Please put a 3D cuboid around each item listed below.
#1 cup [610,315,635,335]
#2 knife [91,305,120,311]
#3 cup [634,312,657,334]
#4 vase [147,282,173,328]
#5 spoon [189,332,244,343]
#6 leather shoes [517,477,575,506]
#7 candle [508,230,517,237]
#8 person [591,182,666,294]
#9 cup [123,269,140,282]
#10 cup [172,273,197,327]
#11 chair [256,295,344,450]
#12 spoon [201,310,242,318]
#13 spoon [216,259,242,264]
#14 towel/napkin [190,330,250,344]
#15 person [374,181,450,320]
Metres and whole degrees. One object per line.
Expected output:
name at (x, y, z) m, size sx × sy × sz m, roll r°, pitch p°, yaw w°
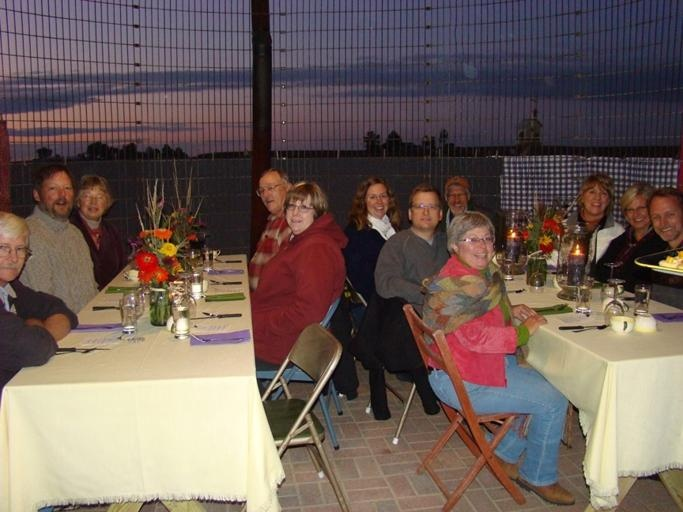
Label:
cup at (1.859, 0.456, 3.581) m, size 0.109 × 0.084 × 0.131 m, roll -1°, pitch -4°, yaw 9°
knife at (-1.839, 0.409, 4.223) m, size 0.220 × 0.027 × 0.054 m, roll 3°, pitch 37°, yaw -19°
cup at (2.042, 0.457, 3.639) m, size 0.118 × 0.082 × 0.124 m, roll 0°, pitch 9°, yaw 0°
vase at (-1.277, 0.342, 3.818) m, size 0.188 × 0.279 × 0.196 m, roll 3°, pitch 5°, yaw -9°
spoon at (-0.806, 0.526, 3.479) m, size 0.241 × 0.036 × 0.041 m, roll 3°, pitch -19°, yaw -36°
leather shoes at (1.370, 1.608, 3.649) m, size 0.348 × 0.171 × 0.135 m, roll 7°, pitch 6°, yaw 18°
candle at (1.705, -0.220, 5.423) m, size 0.067 × 0.069 × 0.068 m, roll -4°, pitch 10°, yaw -30°
person at (2.801, -0.128, 5.195) m, size 0.591 × 0.999 × 0.646 m, roll -17°, pitch 23°, yaw -31°
cup at (-2.014, 0.190, 5.206) m, size 0.140 × 0.115 × 0.113 m, roll 3°, pitch 1°, yaw -11°
cup at (-1.084, 0.315, 3.675) m, size 0.202 × 0.373 × 0.350 m, roll 2°, pitch 1°, yaw -12°
chair at (-0.278, 0.998, 4.736) m, size 0.981 × 1.477 × 0.857 m, roll 2°, pitch 18°, yaw -3°
spoon at (-0.891, 0.438, 3.994) m, size 0.251 × 0.048 × 0.098 m, roll -1°, pitch 15°, yaw -10°
spoon at (-1.383, 0.070, 6.634) m, size 0.273 × 0.038 × 0.038 m, roll 1°, pitch 28°, yaw 0°
towel/napkin at (-0.772, 0.527, 3.473) m, size 0.248 × 0.047 × 0.139 m, roll 7°, pitch 15°, yaw -15°
person at (0.711, 0.005, 4.694) m, size 0.764 × 1.287 × 0.662 m, roll 2°, pitch -6°, yaw -21°
